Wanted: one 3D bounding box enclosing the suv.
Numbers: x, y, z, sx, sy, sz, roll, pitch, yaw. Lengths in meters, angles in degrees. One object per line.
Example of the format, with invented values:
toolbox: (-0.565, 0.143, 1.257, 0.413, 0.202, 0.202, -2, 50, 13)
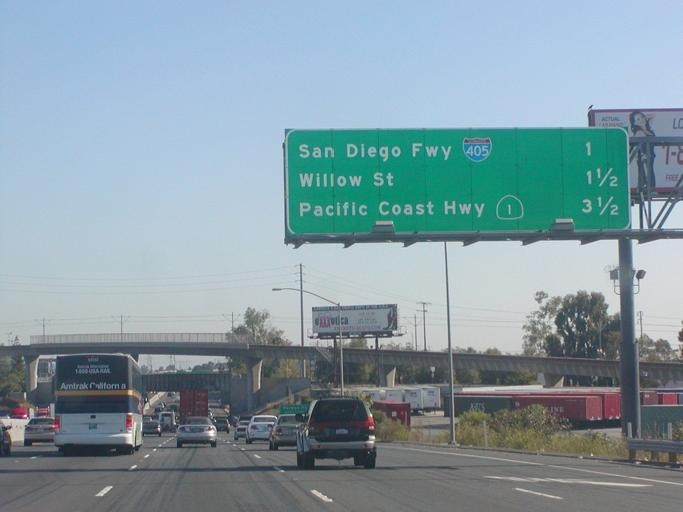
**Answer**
suv: (-0.511, 8.785, 64.712, 3.206, 3.759, 5.074, 4, -9, -18)
